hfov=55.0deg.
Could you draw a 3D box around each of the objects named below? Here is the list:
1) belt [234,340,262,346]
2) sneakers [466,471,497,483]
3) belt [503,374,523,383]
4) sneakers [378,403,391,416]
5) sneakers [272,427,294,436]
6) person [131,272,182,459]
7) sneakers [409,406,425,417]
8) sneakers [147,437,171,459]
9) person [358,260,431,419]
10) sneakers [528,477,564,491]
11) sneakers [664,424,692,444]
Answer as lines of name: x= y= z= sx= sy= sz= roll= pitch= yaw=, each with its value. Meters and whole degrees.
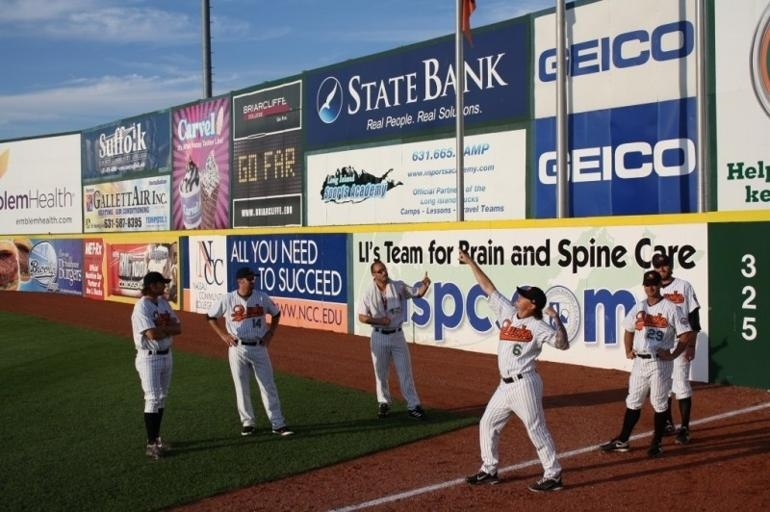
belt: x=-2.590 y=1.631 z=13.959 sx=0.447 sy=0.128 sz=0.039 roll=-3 pitch=10 yaw=-12
sneakers: x=1.598 y=3.695 z=12.301 sx=0.480 sy=0.237 sz=0.221 roll=4 pitch=-5 yaw=2
belt: x=2.074 y=1.980 z=12.001 sx=0.291 sy=0.172 sz=0.029 roll=2 pitch=10 yaw=17
sneakers: x=-0.042 y=3.076 z=15.014 sx=0.232 sy=0.276 sz=0.382 roll=-1 pitch=10 yaw=-1
sneakers: x=-1.968 y=3.322 z=14.138 sx=0.368 sy=0.162 sz=0.173 roll=-2 pitch=1 yaw=18
person: x=-4.102 y=1.920 z=13.338 sx=0.655 sy=3.197 sz=0.767 roll=8 pitch=13 yaw=43
sneakers: x=0.608 y=3.119 z=14.886 sx=0.344 sy=0.239 sz=0.166 roll=-3 pitch=0 yaw=24
sneakers: x=-4.099 y=3.474 z=13.295 sx=0.205 sy=0.273 sz=0.595 roll=13 pitch=-18 yaw=-33
person: x=0.091 y=1.651 z=15.042 sx=1.287 sy=3.147 sz=0.939 roll=0 pitch=10 yaw=6
sneakers: x=2.614 y=3.719 z=12.081 sx=0.587 sy=0.278 sz=0.227 roll=2 pitch=-5 yaw=0
sneakers: x=5.494 y=3.329 z=13.797 sx=0.235 sy=0.247 sz=0.568 roll=-9 pitch=-24 yaw=30
